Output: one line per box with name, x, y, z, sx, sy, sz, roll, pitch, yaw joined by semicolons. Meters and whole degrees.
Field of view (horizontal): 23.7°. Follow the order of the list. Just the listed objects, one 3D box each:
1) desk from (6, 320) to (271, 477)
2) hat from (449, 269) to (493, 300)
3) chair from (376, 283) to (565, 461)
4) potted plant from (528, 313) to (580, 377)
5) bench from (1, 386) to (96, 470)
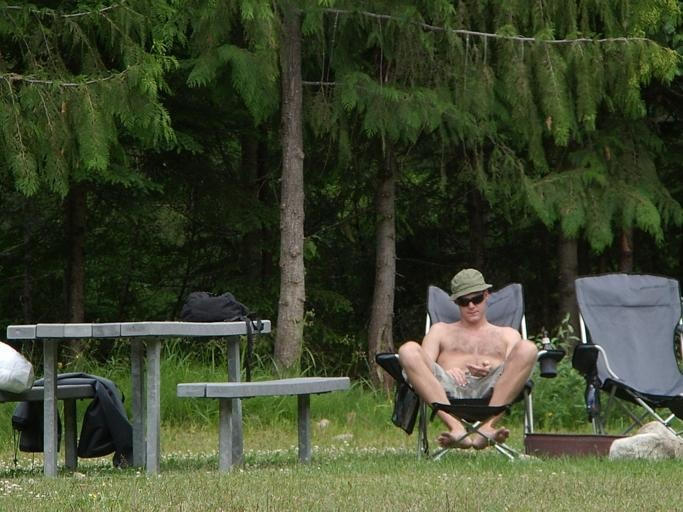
desk;-2.079;1.234;16.281;1.876;1.507;1.645;0;-4;17
hat;1.325;0.255;16.616;0.291;0.184;0.323;-19;5;16
chair;1.355;1.211;16.840;1.474;1.773;1.849;-1;-12;4
potted plant;2.511;1.044;18.886;0.342;1.157;0.823;-7;-18;30
bench;-2.879;1.691;16.183;0.697;0.744;0.875;-4;-7;37
